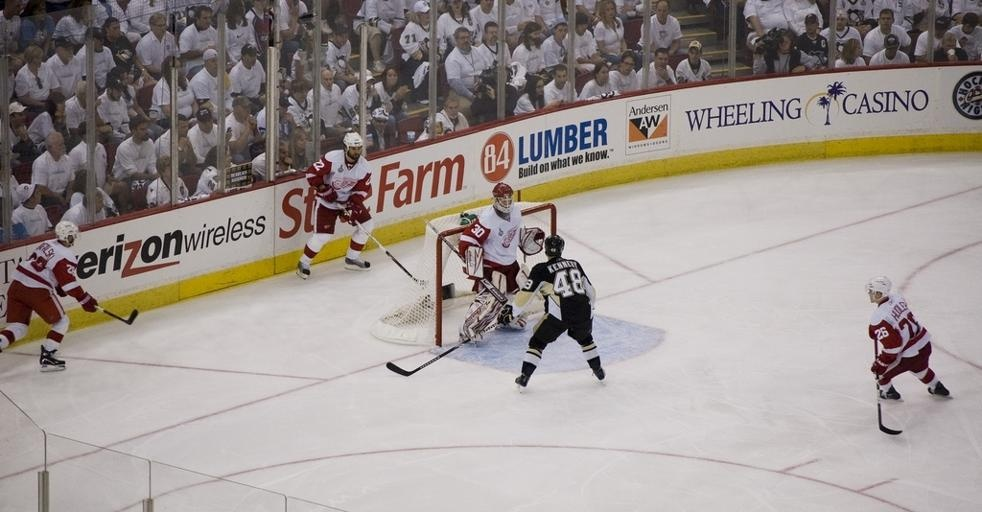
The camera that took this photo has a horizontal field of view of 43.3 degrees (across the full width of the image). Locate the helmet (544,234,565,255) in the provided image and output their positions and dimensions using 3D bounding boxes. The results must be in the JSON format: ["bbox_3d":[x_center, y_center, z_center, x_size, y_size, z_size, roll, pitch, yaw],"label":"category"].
[{"bbox_3d":[0.863,-0.140,16.964,0.261,0.260,0.283,-2,1,2],"label":"helmet"}]

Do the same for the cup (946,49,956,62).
[{"bbox_3d":[8.545,-3.732,22.843,0.145,0.230,0.124,-25,30,0],"label":"cup"}]

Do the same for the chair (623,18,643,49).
[{"bbox_3d":[2.487,-3.951,21.768,0.447,0.468,0.373,-6,54,0],"label":"chair"}]

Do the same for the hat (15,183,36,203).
[{"bbox_3d":[-6.725,-0.901,17.724,0.318,0.200,0.173,-30,-21,26],"label":"hat"}]

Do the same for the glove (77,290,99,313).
[{"bbox_3d":[-5.779,0.661,17.597,0.242,0.283,0.080,-36,40,-20],"label":"glove"}]

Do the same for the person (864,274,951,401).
[{"bbox_3d":[5.541,1.183,16.500,1.109,1.906,0.940,2,32,30],"label":"person"}]

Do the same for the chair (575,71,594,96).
[{"bbox_3d":[1.624,-3.052,21.683,0.298,0.330,0.285,-20,46,-21],"label":"chair"}]

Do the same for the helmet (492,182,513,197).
[{"bbox_3d":[0.183,-0.953,17.874,0.298,0.212,0.257,-3,-18,37],"label":"helmet"}]

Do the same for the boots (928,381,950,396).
[{"bbox_3d":[6.049,1.785,16.604,0.325,0.131,0.151,18,62,13],"label":"boots"}]

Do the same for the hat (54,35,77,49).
[{"bbox_3d":[-6.109,-3.060,17.626,0.245,0.109,0.148,9,10,1],"label":"hat"}]

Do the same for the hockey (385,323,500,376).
[{"bbox_3d":[-0.681,1.410,17.552,1.620,0.336,0.088,-20,11,-24],"label":"hockey"}]

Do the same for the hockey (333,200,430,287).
[{"bbox_3d":[-1.829,-0.165,19.723,1.938,0.268,0.338,39,81,14],"label":"hockey"}]

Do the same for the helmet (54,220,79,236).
[{"bbox_3d":[-6.047,-0.382,17.546,0.308,0.240,0.199,-4,37,-8],"label":"helmet"}]

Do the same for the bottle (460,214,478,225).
[{"bbox_3d":[-0.359,-0.535,18.365,0.233,0.178,0.169,12,1,22],"label":"bottle"}]

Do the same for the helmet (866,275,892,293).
[{"bbox_3d":[5.107,0.388,16.348,0.362,0.242,0.261,12,5,29],"label":"helmet"}]

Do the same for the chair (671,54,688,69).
[{"bbox_3d":[3.384,-3.530,22.261,0.283,0.229,0.131,-13,57,-4],"label":"chair"}]
